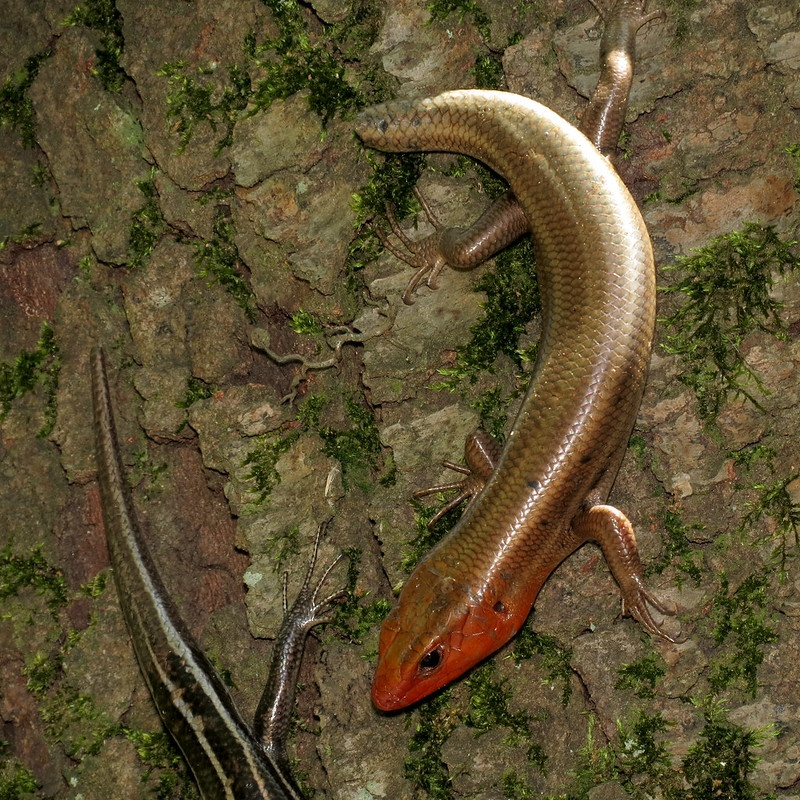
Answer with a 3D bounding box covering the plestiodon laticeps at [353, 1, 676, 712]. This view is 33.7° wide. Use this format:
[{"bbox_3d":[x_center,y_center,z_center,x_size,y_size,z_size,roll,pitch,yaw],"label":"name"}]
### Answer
[{"bbox_3d":[0.621,-0.180,6.046,1.767,2.190,0.817,25,15,10],"label":"plestiodon laticeps"}]
